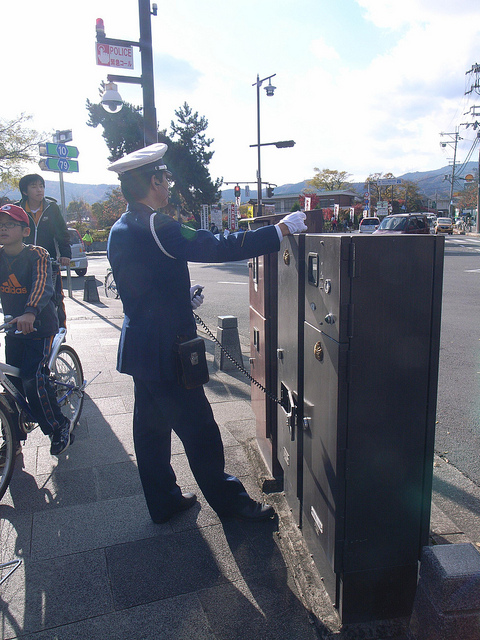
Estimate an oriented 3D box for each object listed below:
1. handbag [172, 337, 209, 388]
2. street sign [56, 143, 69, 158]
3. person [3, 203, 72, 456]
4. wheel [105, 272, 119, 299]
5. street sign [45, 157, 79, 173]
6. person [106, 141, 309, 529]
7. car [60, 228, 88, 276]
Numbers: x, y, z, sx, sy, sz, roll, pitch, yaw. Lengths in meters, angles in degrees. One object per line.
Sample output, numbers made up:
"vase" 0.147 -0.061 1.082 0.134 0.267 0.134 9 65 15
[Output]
"handbag" -0.239 0.201 2.492 0.108 0.244 0.079 -10 -18 24
"street sign" -3.505 -3.343 10.320 0.085 0.250 0.308 1 8 15
"person" -1.342 0.151 3.430 0.399 1.786 0.608 -3 7 -23
"wheel" -3.185 -0.837 12.880 0.189 0.685 2.397 -2 9 -17
"street sign" -3.534 -3.102 10.475 0.187 0.277 1.118 2 9 16
"person" -0.296 0.125 2.668 0.970 2.062 0.616 2 6 19
"car" -5.968 -2.469 19.296 0.558 1.772 2.562 -2 8 -18
